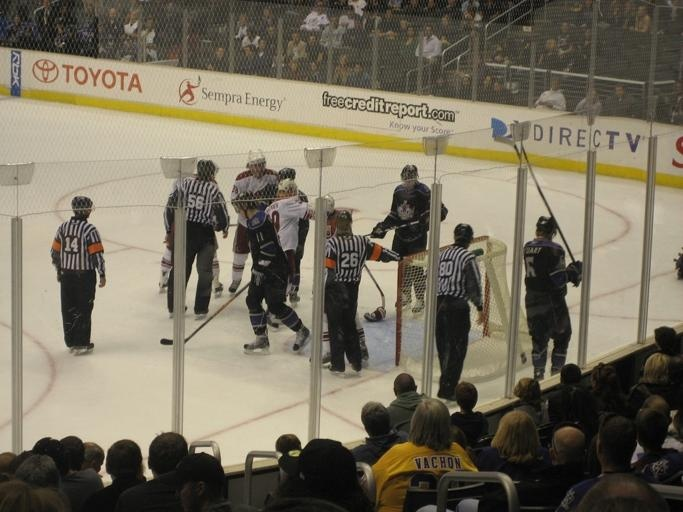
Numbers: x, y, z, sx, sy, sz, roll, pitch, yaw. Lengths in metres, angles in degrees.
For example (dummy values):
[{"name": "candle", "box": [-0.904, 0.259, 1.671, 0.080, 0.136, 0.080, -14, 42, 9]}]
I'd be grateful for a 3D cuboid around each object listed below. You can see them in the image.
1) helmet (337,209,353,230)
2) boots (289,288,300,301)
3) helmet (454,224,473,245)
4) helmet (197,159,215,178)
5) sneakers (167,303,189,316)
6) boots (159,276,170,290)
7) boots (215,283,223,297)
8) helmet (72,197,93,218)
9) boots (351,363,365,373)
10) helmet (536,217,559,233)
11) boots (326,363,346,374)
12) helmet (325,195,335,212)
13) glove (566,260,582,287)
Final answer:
[{"name": "helmet", "box": [0.029, -0.297, 9.111, 0.103, 0.152, 0.082, -2, 18, -17]}, {"name": "boots", "box": [-0.378, 0.319, 9.325, 0.047, 0.077, 0.138, 3, 8, -8]}, {"name": "helmet", "box": [1.004, -0.194, 9.377, 0.156, 0.168, 0.174, 5, 17, 8]}, {"name": "helmet", "box": [-1.030, -0.675, 8.827, 0.150, 0.141, 0.112, -9, 20, -32]}, {"name": "sneakers", "box": [-1.255, 0.418, 8.910, 0.108, 0.107, 0.103, 1, 19, 1]}, {"name": "boots", "box": [-1.373, 0.211, 8.977, 0.045, 0.084, 0.123, 7, 43, -9]}, {"name": "boots", "box": [-0.971, 0.271, 9.157, 0.060, 0.069, 0.100, 0, 6, -1]}, {"name": "helmet", "box": [-2.018, -0.387, 9.008, 0.188, 0.174, 0.136, -5, 14, -20]}, {"name": "boots", "box": [0.131, 0.892, 9.316, 0.064, 0.063, 0.077, 11, 24, 24]}, {"name": "helmet", "box": [1.729, -0.272, 9.712, 0.130, 0.159, 0.075, 4, 8, -6]}, {"name": "boots", "box": [-0.042, 0.905, 9.255, 0.141, 0.125, 0.068, -6, 17, -2]}, {"name": "helmet", "box": [-0.087, -0.412, 8.958, 0.119, 0.110, 0.098, -8, 19, -26]}, {"name": "glove", "box": [2.025, 0.141, 9.997, 0.178, 0.211, 0.087, -1, -1, -8]}]
